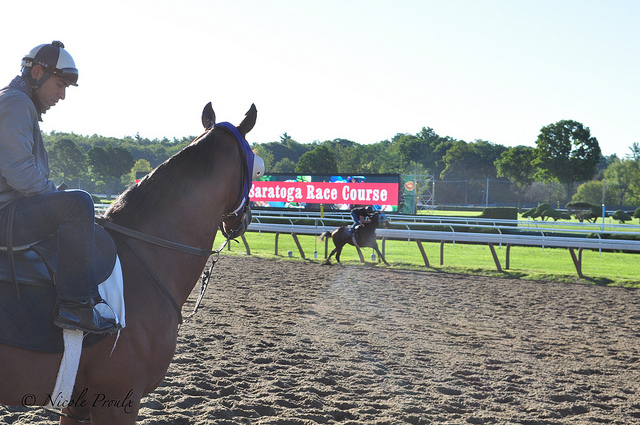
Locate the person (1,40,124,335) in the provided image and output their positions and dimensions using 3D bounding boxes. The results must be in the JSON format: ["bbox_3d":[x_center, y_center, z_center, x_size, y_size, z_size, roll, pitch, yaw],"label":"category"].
[{"bbox_3d":[-2.112,-0.207,5.388,0.773,2.297,0.823,-3,9,-29],"label":"person"}]

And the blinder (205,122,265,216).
[{"bbox_3d":[-0.692,-0.374,5.939,0.665,0.895,0.320,8,10,12],"label":"blinder"}]

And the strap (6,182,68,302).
[{"bbox_3d":[-2.392,0.285,5.350,0.097,0.800,0.126,3,8,11],"label":"strap"}]

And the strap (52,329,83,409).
[{"bbox_3d":[-1.988,1.228,5.365,0.238,0.635,0.087,-1,9,-15],"label":"strap"}]

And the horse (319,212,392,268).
[{"bbox_3d":[0.704,0.653,16.134,2.197,1.272,0.501,-4,-2,41],"label":"horse"}]

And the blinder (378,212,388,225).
[{"bbox_3d":[1.429,0.109,15.961,0.175,0.229,0.117,3,3,-28],"label":"blinder"}]

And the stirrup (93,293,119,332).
[{"bbox_3d":[-1.683,0.787,5.393,0.081,0.256,0.228,-36,-3,33],"label":"stirrup"}]
